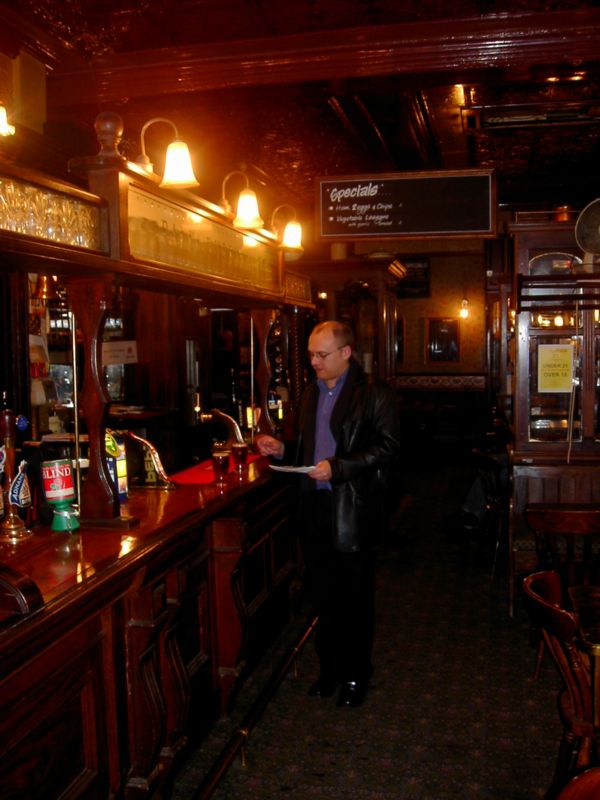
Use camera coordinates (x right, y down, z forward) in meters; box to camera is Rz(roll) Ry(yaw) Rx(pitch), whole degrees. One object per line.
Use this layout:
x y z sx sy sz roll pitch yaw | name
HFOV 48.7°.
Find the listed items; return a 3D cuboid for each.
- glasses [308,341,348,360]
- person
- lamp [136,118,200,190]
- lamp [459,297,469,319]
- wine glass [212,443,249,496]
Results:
0.128 -0.235 3.162 0.117 0.146 0.123 -3 0 -39 | glasses
0.219 0.540 3.128 0.453 1.817 0.549 0 2 -5 | person
-0.536 -0.981 2.629 0.235 0.314 0.144 -3 -5 -13 | lamp
3.419 -1.879 13.831 0.217 0.412 0.169 -1 2 -25 | lamp
-0.338 0.316 3.203 0.204 0.276 0.172 1 -6 1 | wine glass
